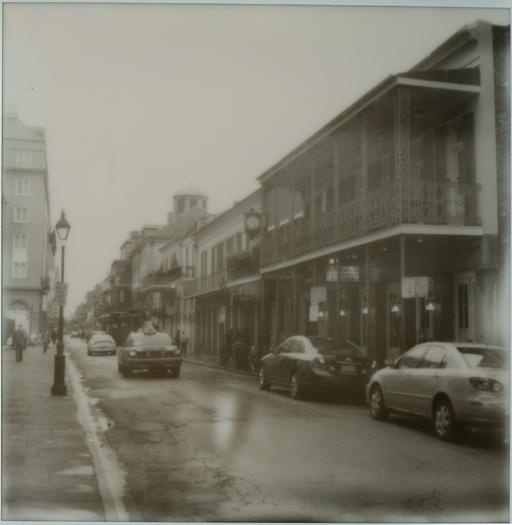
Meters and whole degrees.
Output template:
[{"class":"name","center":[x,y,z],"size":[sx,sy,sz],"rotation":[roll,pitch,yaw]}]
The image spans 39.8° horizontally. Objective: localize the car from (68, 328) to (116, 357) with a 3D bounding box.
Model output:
[{"class":"car","center":[-5.922,3.102,26.859],"size":[1.253,1.198,3.066],"rotation":[2,-2,-20]}]

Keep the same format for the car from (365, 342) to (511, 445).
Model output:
[{"class":"car","center":[2.726,1.775,9.963],"size":[0.820,0.828,2.030],"rotation":[6,-8,-13]}]
